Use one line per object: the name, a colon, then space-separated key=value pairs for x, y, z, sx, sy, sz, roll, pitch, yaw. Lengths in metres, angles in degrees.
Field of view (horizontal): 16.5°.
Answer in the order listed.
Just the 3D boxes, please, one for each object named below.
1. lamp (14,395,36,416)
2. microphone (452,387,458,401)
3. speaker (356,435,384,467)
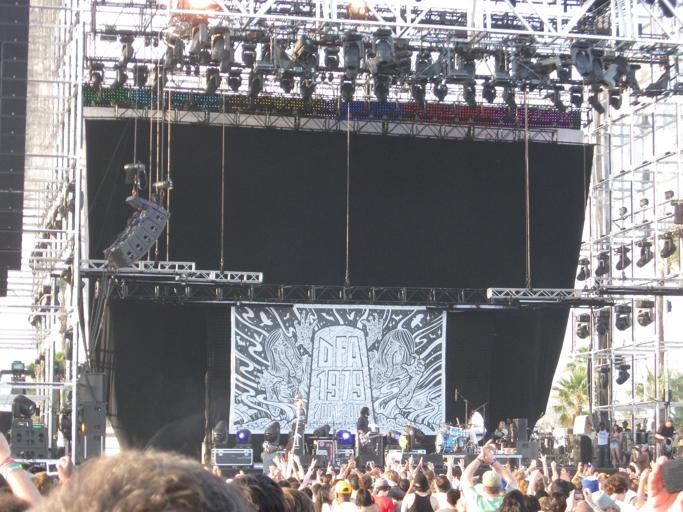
lamp: x=-8.747 y=4.154 z=65.042 sx=0.590 sy=0.617 sz=1.175 roll=1 pitch=0 yaw=-8
microphone: x=3.424 y=4.115 z=70.000 sx=0.141 sy=0.351 sz=0.166 roll=1 pitch=0 yaw=2
speaker: x=0.828 y=5.426 z=65.805 sx=0.706 sy=0.709 sz=0.726 roll=0 pitch=-2 yaw=-14
